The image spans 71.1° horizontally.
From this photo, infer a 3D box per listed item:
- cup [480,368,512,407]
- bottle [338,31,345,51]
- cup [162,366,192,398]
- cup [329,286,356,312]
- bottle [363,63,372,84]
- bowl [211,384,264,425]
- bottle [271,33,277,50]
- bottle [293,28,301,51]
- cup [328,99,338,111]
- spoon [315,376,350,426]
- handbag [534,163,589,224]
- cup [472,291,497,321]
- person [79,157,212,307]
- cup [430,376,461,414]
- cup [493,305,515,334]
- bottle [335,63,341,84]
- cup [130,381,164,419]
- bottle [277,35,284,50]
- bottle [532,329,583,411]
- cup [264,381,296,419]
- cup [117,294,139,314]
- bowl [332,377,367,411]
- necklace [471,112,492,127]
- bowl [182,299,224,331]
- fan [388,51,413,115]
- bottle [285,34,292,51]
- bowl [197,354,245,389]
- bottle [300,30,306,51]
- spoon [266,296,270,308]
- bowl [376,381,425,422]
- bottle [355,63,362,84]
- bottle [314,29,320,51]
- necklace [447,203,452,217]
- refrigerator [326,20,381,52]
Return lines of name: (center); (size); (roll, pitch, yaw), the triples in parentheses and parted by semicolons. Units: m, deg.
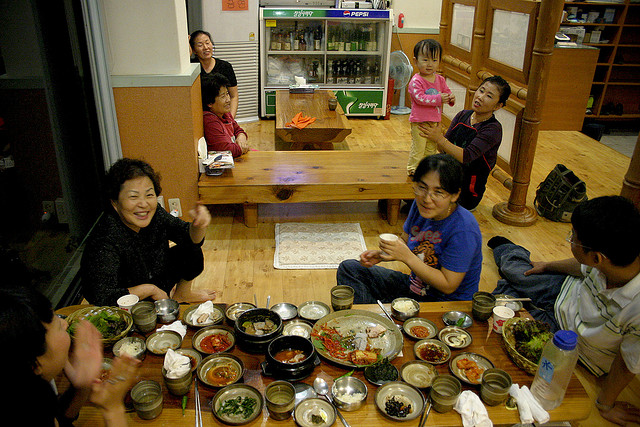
cup: (0.878, 0.860, 2.286); (0.149, 0.128, 0.175); (6, 38, 7)
bottle: (0.363, -2.944, 7.648); (0.113, 0.283, 0.156); (-2, 29, 0)
cup: (-0.694, 0.844, 2.201); (0.129, 0.109, 0.137); (-1, 30, 1)
cup: (0.127, 0.497, 2.639); (0.125, 0.107, 0.139); (-1, 31, -3)
bottle: (0.838, -2.458, 7.879); (0.156, 0.312, 0.224); (1, 29, 5)
bowl: (-0.395, 0.920, 2.172); (0.246, 0.088, 0.172); (-7, 30, -11)
bottle: (-0.771, -2.876, 7.503); (0.104, 0.239, 0.149); (-4, 29, -4)
bottle: (-0.398, -2.939, 7.596); (0.128, 0.296, 0.255); (-3, 29, -2)
cup: (0.179, -1.533, 6.319); (0.146, 0.131, 0.138); (0, 42, 0)
spoon: (0.053, 0.902, 2.211); (0.072, 0.036, 0.326); (-2, 29, -22)
handbag: (2.699, -0.247, 4.954); (0.517, 0.526, 0.505); (-17, 47, -31)
cup: (0.969, 0.545, 2.652); (0.137, 0.130, 0.138); (-1, 29, 1)
person: (-1.301, 0.141, 3.250); (0.685, 0.910, 0.752); (29, 45, 21)
cup: (0.602, 0.882, 2.246); (0.143, 0.126, 0.160); (-8, 36, -5)
cup: (1.054, 0.622, 2.586); (0.145, 0.114, 0.134); (5, 5, 0)
bottle: (0.311, -2.437, 7.798); (0.100, 0.321, 0.108); (-1, 29, 1)
cup: (-0.844, 0.890, 2.204); (0.147, 0.120, 0.164); (-2, 34, -4)
bottle: (-0.662, -2.868, 7.522); (0.107, 0.211, 0.131); (-2, 29, -1)
bottle: (1.195, 0.746, 2.239); (0.151, 0.390, 0.266); (20, 36, 33)
cup: (-0.191, 0.894, 2.178); (0.150, 0.109, 0.150); (1, 39, -1)
cup: (-1.131, 0.521, 2.655); (0.096, 0.069, 0.096); (4, 41, -4)
bowl: (0.152, 0.890, 2.202); (0.214, 0.068, 0.212); (-2, 22, 1)
necklace: (1.602, -0.922, 4.473); (0.196, 0.114, 0.103); (15, 33, 27)
bowl: (-0.676, 0.592, 2.586); (0.232, 0.074, 0.225); (5, 25, -2)
fan: (1.396, -2.259, 7.822); (0.412, 1.151, 0.791); (4, 30, 10)
bottle: (-0.539, -2.869, 7.525); (0.104, 0.231, 0.126); (-2, 29, -1)
bowl: (-0.506, 0.808, 2.303); (0.233, 0.094, 0.163); (6, 30, 12)
bottle: (-0.292, -2.929, 7.595); (0.098, 0.278, 0.230); (-3, 29, -2)
spoon: (-0.314, 0.546, 2.730); (0.026, 0.013, 0.094); (3, 74, 3)
bowl: (0.394, 0.920, 2.204); (0.235, 0.072, 0.177); (3, 29, 7)
bottle: (0.657, -2.440, 7.823); (0.133, 0.324, 0.123); (-1, 29, 1)
bottle: (-0.052, -2.954, 7.635); (0.093, 0.302, 0.103); (-2, 29, 0)
necklace: (0.823, -0.028, 2.844); (0.008, 0.086, 0.039); (22, 37, 36)
refrigerator: (0.574, -3.052, 7.676); (0.978, 0.628, 0.519); (2, 34, 0)
